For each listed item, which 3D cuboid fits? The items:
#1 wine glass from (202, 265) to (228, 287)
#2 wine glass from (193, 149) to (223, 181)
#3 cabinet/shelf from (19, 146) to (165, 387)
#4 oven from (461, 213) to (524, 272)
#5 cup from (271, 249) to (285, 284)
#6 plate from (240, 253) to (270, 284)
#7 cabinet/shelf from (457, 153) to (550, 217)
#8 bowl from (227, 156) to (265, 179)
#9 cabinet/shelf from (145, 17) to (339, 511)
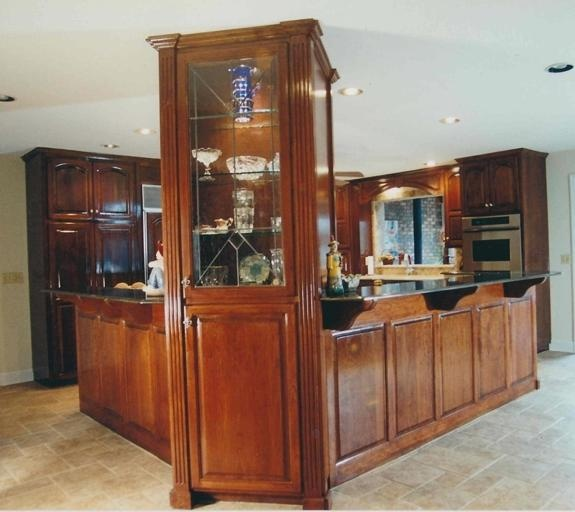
[{"bbox_3d":[-0.404,0.110,3.041,0.148,0.088,0.112,-1,-4,-4],"label":"wine glass"},{"bbox_3d":[-0.464,-0.542,3.215,0.206,0.185,0.194,-3,10,-14],"label":"wine glass"},{"bbox_3d":[-2.111,0.096,5.862,1.241,2.445,0.550,-6,6,-29],"label":"cabinet/shelf"},{"bbox_3d":[2.497,-0.147,6.675,0.652,0.798,0.879,2,-3,-33],"label":"oven"},{"bbox_3d":[-0.057,0.056,3.024,0.085,0.202,0.035,-2,5,15],"label":"cup"},{"bbox_3d":[-0.204,0.070,2.984,0.196,0.160,0.040,-3,-3,12],"label":"plate"},{"bbox_3d":[2.644,-0.815,6.673,0.656,0.802,0.926,-4,2,-35],"label":"cabinet/shelf"},{"bbox_3d":[-0.233,-0.491,3.100,0.176,0.062,0.163,0,4,0],"label":"bowl"},{"bbox_3d":[-0.244,0.073,3.068,0.959,2.678,0.333,-2,5,8],"label":"cabinet/shelf"}]
